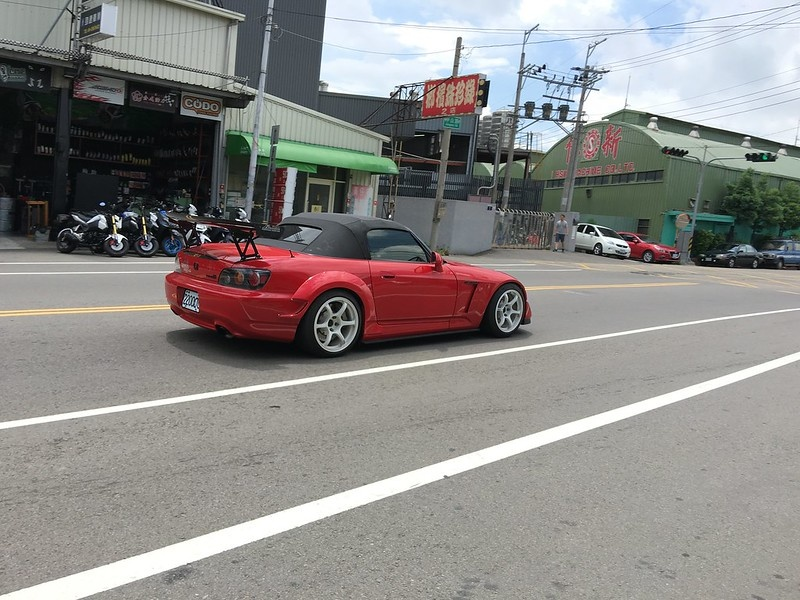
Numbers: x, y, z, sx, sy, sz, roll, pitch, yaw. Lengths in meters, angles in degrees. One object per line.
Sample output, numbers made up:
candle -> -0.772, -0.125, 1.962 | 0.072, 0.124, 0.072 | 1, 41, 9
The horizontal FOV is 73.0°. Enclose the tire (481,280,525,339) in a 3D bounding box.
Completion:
tire -> 1.550, 0.148, 8.261 | 0.276, 0.713, 0.710 | 19, 32, 41

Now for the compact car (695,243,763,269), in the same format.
compact car -> 24.018, -3.011, 38.933 | 3.905, 1.410, 1.971 | 3, 1, -19

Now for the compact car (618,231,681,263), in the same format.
compact car -> 16.680, -3.484, 36.049 | 4.218, 1.415, 1.945 | 9, 10, 38

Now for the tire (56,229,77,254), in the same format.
tire -> -9.522, -1.647, 15.382 | 0.636, 0.691, 0.218 | 13, 14, 9

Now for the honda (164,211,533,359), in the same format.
honda -> -0.524, -0.076, 7.348 | 4.117, 1.365, 2.035 | -4, 10, -37

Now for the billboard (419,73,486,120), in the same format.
billboard -> 2.560, -9.681, 25.830 | 0.361, 1.787, 3.794 | -5, 14, -42

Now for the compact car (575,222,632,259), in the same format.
compact car -> 13.684, -3.909, 35.993 | 2.110, 1.636, 3.841 | 1, 4, -29

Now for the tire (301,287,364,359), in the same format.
tire -> -0.835, 0.257, 6.424 | 0.778, 0.777, 0.316 | -5, 22, -44

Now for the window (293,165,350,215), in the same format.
window -> -4.095, -5.403, 27.092 | 1.895, 3.516, 0.346 | 4, -33, -4

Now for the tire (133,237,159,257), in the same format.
tire -> -7.603, -1.563, 16.084 | 0.631, 0.628, 0.267 | 2, 4, -15
